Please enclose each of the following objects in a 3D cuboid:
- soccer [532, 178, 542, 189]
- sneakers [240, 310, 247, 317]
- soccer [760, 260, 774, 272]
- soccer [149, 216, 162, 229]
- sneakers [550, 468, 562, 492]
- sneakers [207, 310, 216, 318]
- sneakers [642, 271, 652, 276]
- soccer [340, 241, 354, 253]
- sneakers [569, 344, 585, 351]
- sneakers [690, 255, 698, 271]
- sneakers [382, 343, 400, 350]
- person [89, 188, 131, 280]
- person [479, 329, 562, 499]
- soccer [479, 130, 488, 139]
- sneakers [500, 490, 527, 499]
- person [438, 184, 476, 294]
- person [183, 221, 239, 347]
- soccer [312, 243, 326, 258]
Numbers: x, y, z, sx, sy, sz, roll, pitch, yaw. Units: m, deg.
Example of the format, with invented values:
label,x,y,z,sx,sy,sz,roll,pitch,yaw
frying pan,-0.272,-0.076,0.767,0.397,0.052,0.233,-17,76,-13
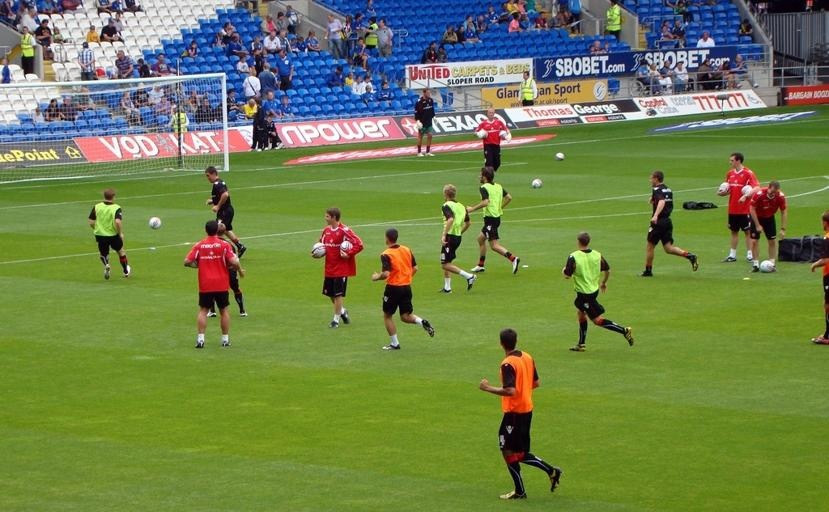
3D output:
label,x,y,z,sx,sy,sz,roll,pitch,yaw
soccer,4.036,-2.420,41.121,0.352,0.288,0.402,-1,1,-7
sneakers,-3.731,1.262,27.626,0.160,0.106,0.242,-3,7,-7
soccer,8.381,0.247,30.070,0.339,0.255,0.252,-20,15,33
soccer,-7.104,-0.934,34.578,0.279,0.243,0.257,20,34,5
sneakers,2.271,3.625,20.448,0.267,0.451,0.168,4,25,2
sneakers,-4.472,1.294,27.893,0.103,0.101,0.253,-1,5,-25
sneakers,5.500,0.405,29.865,0.280,0.127,0.154,-4,7,-11
soccer,-1.399,-0.205,25.906,0.238,0.166,0.232,-11,40,-27
sneakers,3.276,1.848,25.328,0.362,0.138,0.122,2,5,12
sneakers,6.658,0.155,30.143,0.142,0.342,0.173,-18,29,1
sneakers,-0.470,1.838,25.483,0.363,0.127,0.120,3,2,-1
person,-7.403,-0.584,30.669,0.814,2.194,1.326,-5,8,-12
person,1.684,2.573,20.501,1.114,2.764,1.032,-3,8,5
soccer,2.189,-4.026,40.920,0.184,0.297,0.367,2,9,35
sneakers,1.589,3.900,20.435,0.445,0.141,0.146,1,-3,5
person,0.939,-0.454,29.235,0.782,2.525,1.402,-3,8,3
person,-4.110,0.546,25.793,1.060,2.592,1.023,-4,8,-9
soccer,-1.981,-0.141,26.127,0.277,0.319,0.350,-3,7,-4
